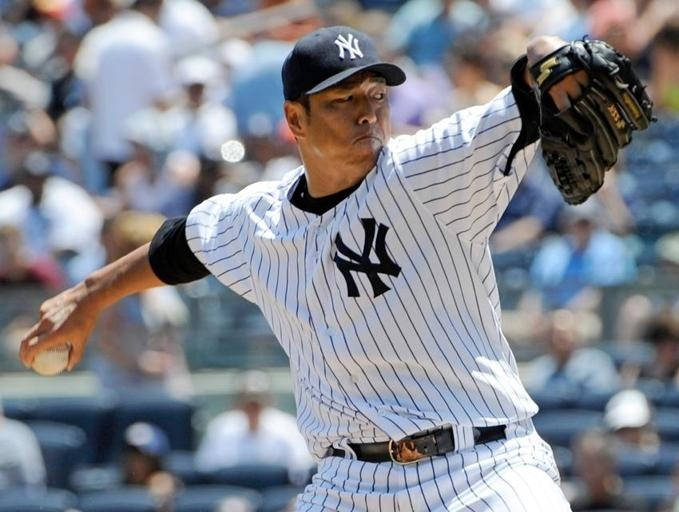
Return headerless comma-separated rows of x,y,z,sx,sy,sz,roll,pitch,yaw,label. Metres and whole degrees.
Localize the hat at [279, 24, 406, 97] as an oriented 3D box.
-0.045,-0.956,6.585,0.362,0.294,0.488,-24,8,-28,hat
